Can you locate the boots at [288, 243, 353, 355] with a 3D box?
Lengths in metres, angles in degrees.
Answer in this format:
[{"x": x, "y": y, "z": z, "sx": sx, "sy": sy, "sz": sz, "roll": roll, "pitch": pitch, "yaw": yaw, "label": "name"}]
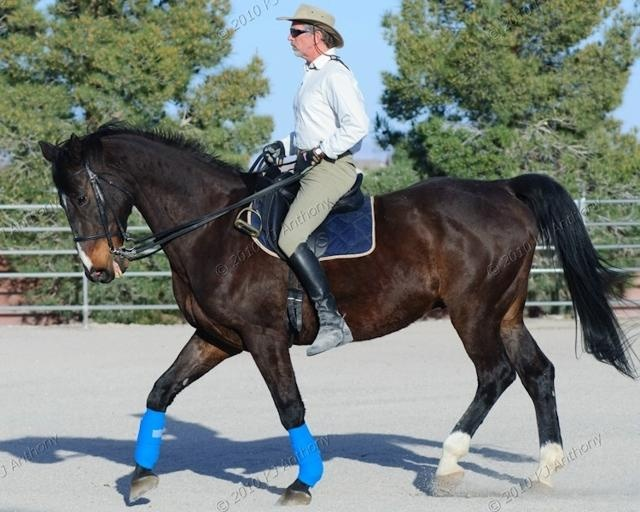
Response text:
[{"x": 0.044, "y": 0.414, "z": 11.399, "sx": 0.609, "sy": 1.117, "sz": 0.285, "roll": -4, "pitch": 6, "yaw": -13, "label": "boots"}]
